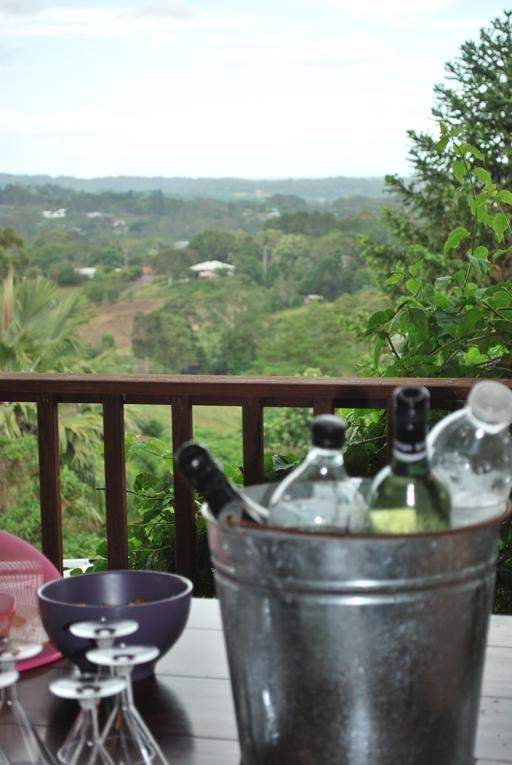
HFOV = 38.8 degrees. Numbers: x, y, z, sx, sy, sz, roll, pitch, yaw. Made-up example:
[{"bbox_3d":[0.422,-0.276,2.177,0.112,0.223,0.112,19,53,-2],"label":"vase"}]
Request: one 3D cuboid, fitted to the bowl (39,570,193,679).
[{"bbox_3d":[-0.101,0.158,0.537,0.096,0.052,0.092,1,4,0],"label":"bowl"}]
